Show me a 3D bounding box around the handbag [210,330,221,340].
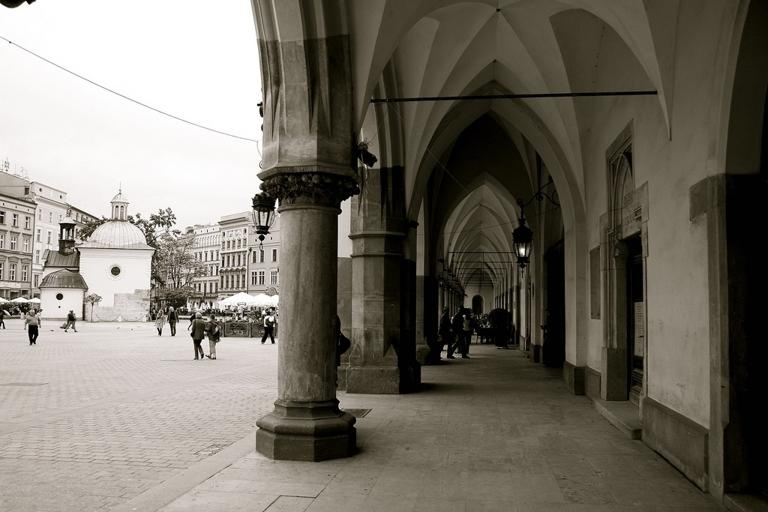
[{"bbox_3d":[-5.273,2.492,22.742,0.177,0.231,0.250,2,-43,-8],"label":"handbag"}]

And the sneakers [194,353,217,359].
[{"bbox_3d":[-5.604,3.110,22.655,0.509,0.241,0.167,9,-13,0],"label":"sneakers"}]

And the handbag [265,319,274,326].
[{"bbox_3d":[-4.960,2.845,31.484,0.308,0.261,0.326,5,-11,-23],"label":"handbag"}]

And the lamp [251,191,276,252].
[{"bbox_3d":[-2.309,-0.799,13.840,0.439,0.817,1.059,-1,-5,-9],"label":"lamp"}]
